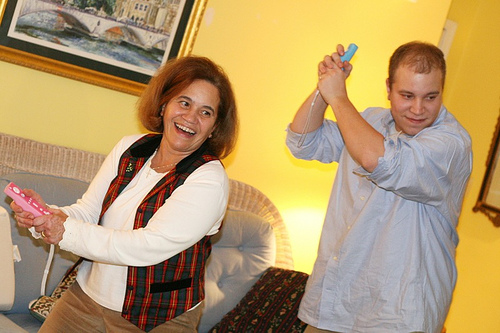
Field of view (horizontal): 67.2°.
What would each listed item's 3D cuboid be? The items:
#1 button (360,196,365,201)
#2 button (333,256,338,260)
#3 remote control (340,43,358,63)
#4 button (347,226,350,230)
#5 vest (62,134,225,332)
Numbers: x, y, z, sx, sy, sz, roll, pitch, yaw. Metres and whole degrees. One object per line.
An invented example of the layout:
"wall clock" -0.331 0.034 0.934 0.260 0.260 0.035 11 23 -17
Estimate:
"button" 0.494 0.138 1.659 0.019 0.019 0.005 -2 -10 9
"button" 0.371 0.396 1.644 0.014 0.013 0.004 -3 -9 9
"remote control" 0.461 -0.511 1.747 0.052 0.103 0.024 23 0 28
"button" 0.432 0.267 1.654 0.012 0.012 0.003 -20 -30 31
"vest" -0.396 0.243 1.659 0.505 0.859 0.318 15 -3 35
